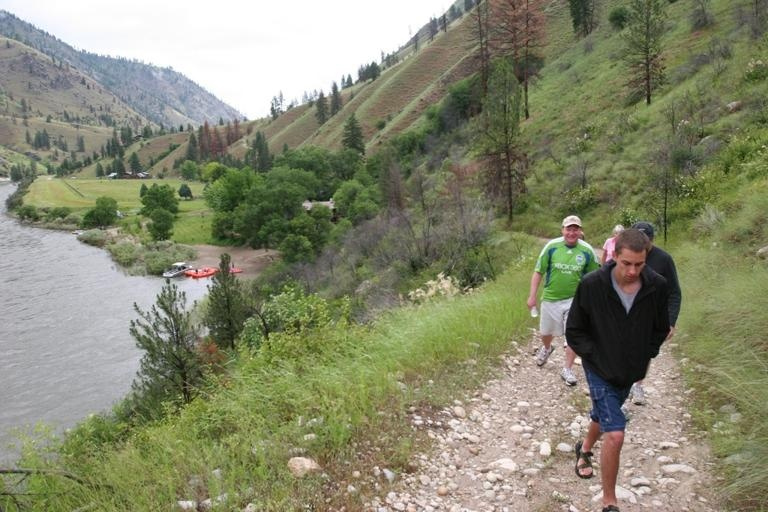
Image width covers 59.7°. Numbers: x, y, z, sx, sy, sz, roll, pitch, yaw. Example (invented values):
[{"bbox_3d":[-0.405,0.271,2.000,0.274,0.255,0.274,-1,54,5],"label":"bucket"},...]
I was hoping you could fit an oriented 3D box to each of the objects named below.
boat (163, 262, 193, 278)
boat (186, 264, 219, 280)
[{"bbox_3d":[-30.081,1.956,97.689,1.565,1.645,5.601,0,5,16],"label":"boat"},{"bbox_3d":[-26.709,2.437,96.497,3.516,1.143,4.805,-15,11,-43],"label":"boat"}]
